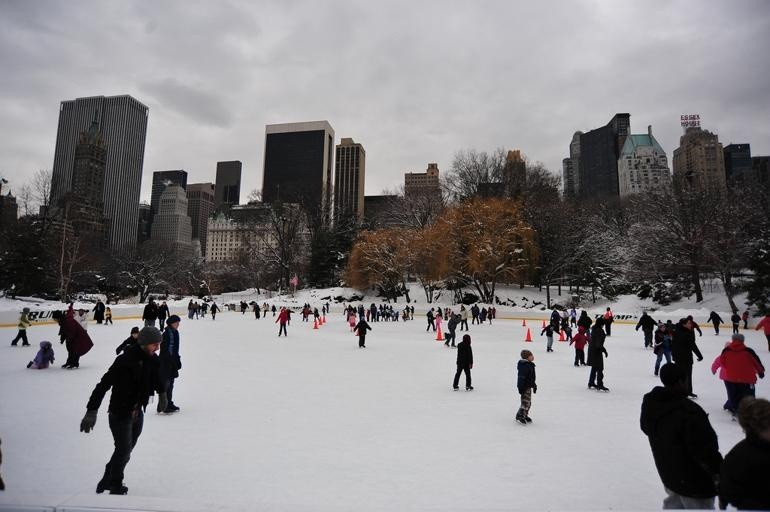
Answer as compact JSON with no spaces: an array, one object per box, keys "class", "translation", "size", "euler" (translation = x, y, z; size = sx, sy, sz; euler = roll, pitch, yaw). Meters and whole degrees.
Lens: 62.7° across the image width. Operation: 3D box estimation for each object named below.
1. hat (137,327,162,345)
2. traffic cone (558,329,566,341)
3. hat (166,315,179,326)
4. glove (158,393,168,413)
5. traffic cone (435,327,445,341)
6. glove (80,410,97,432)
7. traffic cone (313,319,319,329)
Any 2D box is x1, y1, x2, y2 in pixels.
[{"class":"hat","translation":[-5.697,1.951,15.278],"size":[0.470,0.369,0.479],"euler":[0,2,-19]},{"class":"traffic cone","translation":[8.974,4.069,31.944],"size":[0.492,0.701,0.507],"euler":[-1,-10,7]},{"class":"hat","translation":[-6.086,1.855,18.209],"size":[0.386,0.327,0.297],"euler":[-5,1,3]},{"class":"glove","translation":[-5.542,3.627,15.714],"size":[0.162,0.512,0.494],"euler":[1,-3,-20]},{"class":"traffic cone","translation":[2.799,4.000,31.748],"size":[0.456,0.536,0.470],"euler":[-1,-8,-6]},{"class":"glove","translation":[-7.040,3.925,14.972],"size":[0.363,0.504,0.192],"euler":[1,-3,-10]},{"class":"traffic cone","translation":[-4.152,4.092,37.492],"size":[0.488,0.545,0.482],"euler":[-2,3,11]}]
